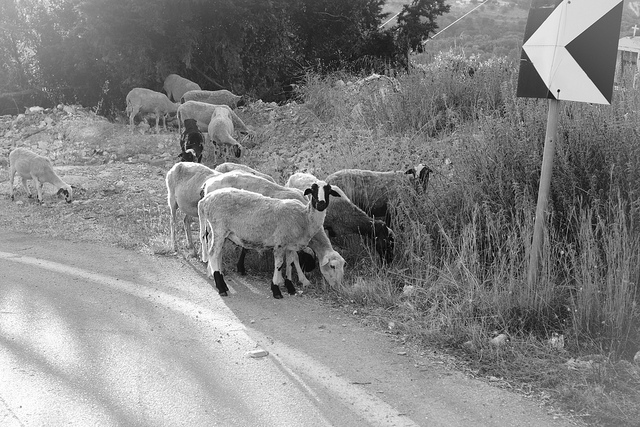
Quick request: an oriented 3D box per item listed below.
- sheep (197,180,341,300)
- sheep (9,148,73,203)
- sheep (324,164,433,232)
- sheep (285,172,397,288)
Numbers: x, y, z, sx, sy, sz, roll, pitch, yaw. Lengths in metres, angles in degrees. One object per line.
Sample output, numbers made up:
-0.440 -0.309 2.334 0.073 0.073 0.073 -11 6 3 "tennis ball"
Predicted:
-0.854 0.470 9.172 1.774 1.532 0.663 1 -6 9 "sheep"
-8.489 -1.191 15.949 2.328 1.559 0.864 5 10 31 "sheep"
1.122 -0.257 10.491 2.213 1.365 0.663 -1 6 -10 "sheep"
0.413 0.354 9.482 0.636 1.238 2.312 -22 44 -36 "sheep"
